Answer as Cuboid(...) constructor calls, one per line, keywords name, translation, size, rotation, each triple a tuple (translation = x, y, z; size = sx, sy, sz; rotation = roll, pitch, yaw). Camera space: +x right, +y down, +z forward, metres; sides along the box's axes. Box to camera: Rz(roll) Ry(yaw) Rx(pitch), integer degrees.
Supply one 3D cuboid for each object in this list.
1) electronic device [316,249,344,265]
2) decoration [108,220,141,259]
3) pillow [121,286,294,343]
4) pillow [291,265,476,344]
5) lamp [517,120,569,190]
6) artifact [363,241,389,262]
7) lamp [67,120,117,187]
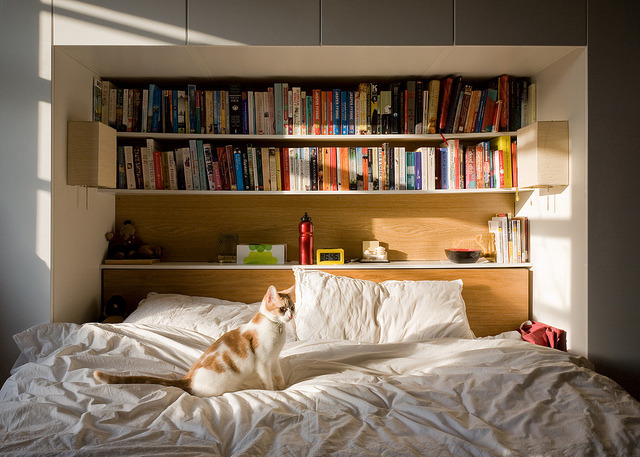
Cuboid(name="electronic device", translation=(0.066, 0.191, 3.626), size=(0.181, 0.108, 0.097), rotation=(0, -6, -1))
Cuboid(name="decoration", translation=(-1.360, 0.082, 3.762), size=(0.248, 0.273, 0.175), rotation=(5, 10, -28))
Cuboid(name="pillow", translation=(-0.783, 0.520, 3.295), size=(0.674, 0.119, 0.434), rotation=(5, 13, 3))
Cuboid(name="pillow", translation=(0.313, 0.495, 3.443), size=(0.865, 0.420, 0.334), rotation=(-1, 14, -3))
Cuboid(name="lamp", translation=(1.425, -0.467, 3.479), size=(0.189, 0.419, 0.344), rotation=(0, 2, -14))
Cuboid(name="artifact", translation=(0.385, 0.162, 3.751), size=(0.188, 0.179, 0.135), rotation=(0, -10, 1))
Cuboid(name="lamp", translation=(-1.501, -0.381, 3.532), size=(0.189, 0.464, 0.492), rotation=(-5, -19, -10))
